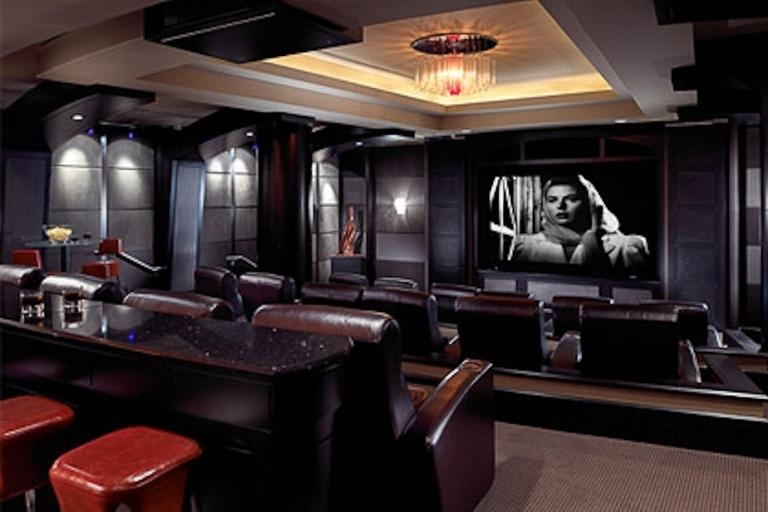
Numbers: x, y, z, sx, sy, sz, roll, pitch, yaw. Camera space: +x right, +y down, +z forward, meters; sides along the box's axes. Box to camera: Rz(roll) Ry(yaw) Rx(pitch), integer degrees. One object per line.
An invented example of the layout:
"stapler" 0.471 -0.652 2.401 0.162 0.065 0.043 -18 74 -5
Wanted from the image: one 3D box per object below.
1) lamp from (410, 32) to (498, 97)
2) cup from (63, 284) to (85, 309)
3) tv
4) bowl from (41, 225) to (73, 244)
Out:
"lamp" 0.815 -2.172 6.420 0.959 0.484 1.239 3 4 7
"cup" -2.106 0.280 3.734 0.108 0.174 0.096 -2 11 -26
"tv" 3.182 -0.527 9.096 2.378 1.600 0.109 2 2 30
"bowl" -3.886 -0.257 6.565 0.317 0.159 0.313 1 -3 0
